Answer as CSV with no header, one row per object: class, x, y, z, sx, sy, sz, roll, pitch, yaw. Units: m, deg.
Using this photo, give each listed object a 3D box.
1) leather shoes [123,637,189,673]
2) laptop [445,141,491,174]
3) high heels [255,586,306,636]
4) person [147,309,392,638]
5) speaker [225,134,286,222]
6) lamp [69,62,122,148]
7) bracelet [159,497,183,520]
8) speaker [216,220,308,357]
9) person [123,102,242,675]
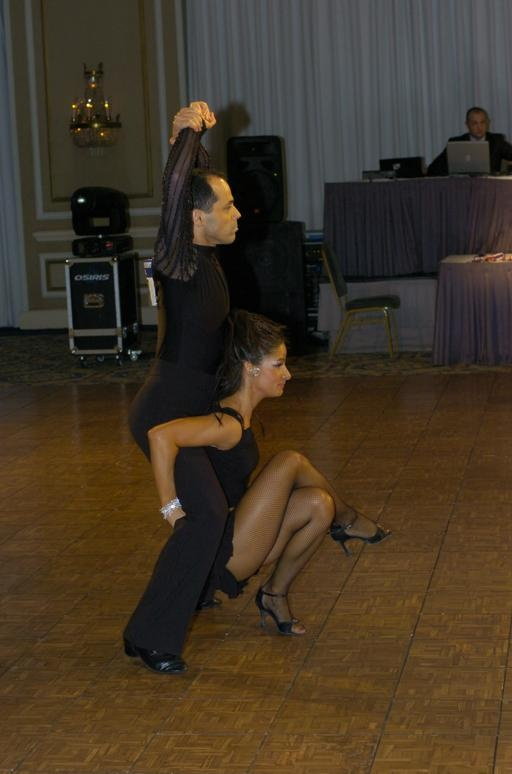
leather shoes,-0.243,0.633,1.684,0.175,0.075,0.065,9,9,15
laptop,2.036,-2.219,6.741,0.464,0.411,0.325,1,16,13
high heels,0.064,0.608,1.881,0.137,0.106,0.068,1,4,34
person,0.025,0.227,1.809,0.669,0.770,0.411,-4,11,-21
speaker,0.020,-2.027,6.891,0.517,0.846,0.294,-3,-1,2
lamp,-1.930,-3.409,8.324,0.622,0.922,0.613,-13,22,-38
bracelet,-0.198,0.285,1.556,0.056,0.022,0.043,-35,26,1
speaker,0.075,-0.740,6.954,0.793,1.247,0.821,-4,-34,-3
person,-0.183,0.010,1.628,0.336,1.364,0.258,-4,3,-13
